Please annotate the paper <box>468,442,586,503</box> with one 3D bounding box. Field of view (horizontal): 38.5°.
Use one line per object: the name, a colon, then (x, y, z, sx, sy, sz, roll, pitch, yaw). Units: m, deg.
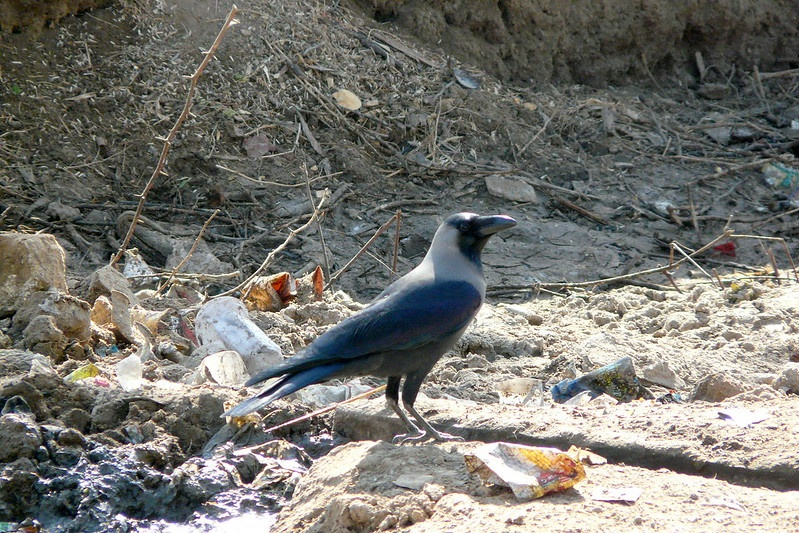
paper: (1.041, 1.659, 9.258, 0.656, 0.237, 0.535, 17, 1, 8)
